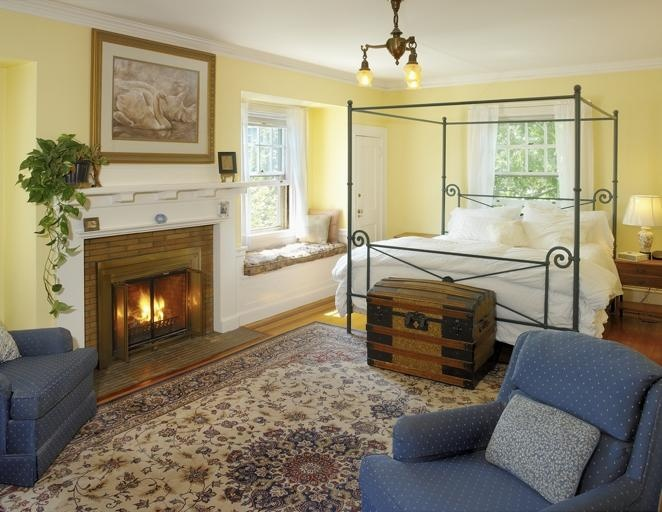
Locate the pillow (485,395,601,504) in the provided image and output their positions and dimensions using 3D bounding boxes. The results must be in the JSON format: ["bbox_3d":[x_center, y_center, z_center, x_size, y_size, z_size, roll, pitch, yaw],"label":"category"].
[{"bbox_3d":[0.809,0.736,1.841,0.108,0.319,0.367,30,-3,-43],"label":"pillow"}]

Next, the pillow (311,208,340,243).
[{"bbox_3d":[-0.193,-0.411,6.677,0.609,0.523,0.321,8,12,41],"label":"pillow"}]

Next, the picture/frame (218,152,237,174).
[{"bbox_3d":[-1.083,-0.953,4.800,0.028,0.269,0.251,1,4,44],"label":"picture/frame"}]

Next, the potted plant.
[{"bbox_3d":[-2.059,-0.227,3.674,0.593,1.406,0.440,-8,14,-31],"label":"potted plant"}]

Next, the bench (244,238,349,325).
[{"bbox_3d":[-0.644,0.252,6.088,0.684,0.735,2.173,10,13,33],"label":"bench"}]

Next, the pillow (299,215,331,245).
[{"bbox_3d":[-0.245,-0.362,6.436,0.391,0.303,0.190,3,17,25],"label":"pillow"}]

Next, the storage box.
[{"bbox_3d":[0.902,0.608,4.075,1.010,0.686,0.798,6,9,39],"label":"storage box"}]

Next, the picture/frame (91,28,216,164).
[{"bbox_3d":[-1.621,-1.436,4.141,0.059,1.083,1.368,5,6,34],"label":"picture/frame"}]
